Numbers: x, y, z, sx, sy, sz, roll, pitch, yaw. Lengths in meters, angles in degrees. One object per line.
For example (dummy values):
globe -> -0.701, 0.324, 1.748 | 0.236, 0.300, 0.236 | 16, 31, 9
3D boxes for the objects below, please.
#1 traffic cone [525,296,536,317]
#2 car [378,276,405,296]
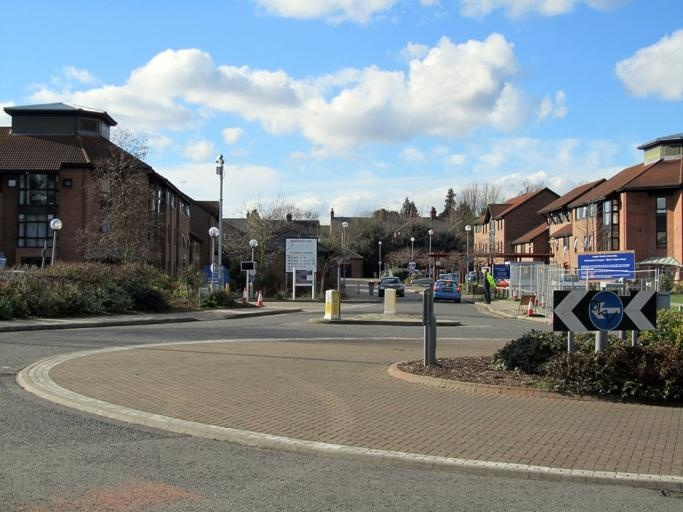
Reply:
traffic cone -> 9.079, 2.435, 34.507 | 0.705, 1.102, 0.812 | 0, -4, 0
car -> 3.970, 2.310, 56.746 | 1.137, 0.996, 2.755 | -1, -9, 0
